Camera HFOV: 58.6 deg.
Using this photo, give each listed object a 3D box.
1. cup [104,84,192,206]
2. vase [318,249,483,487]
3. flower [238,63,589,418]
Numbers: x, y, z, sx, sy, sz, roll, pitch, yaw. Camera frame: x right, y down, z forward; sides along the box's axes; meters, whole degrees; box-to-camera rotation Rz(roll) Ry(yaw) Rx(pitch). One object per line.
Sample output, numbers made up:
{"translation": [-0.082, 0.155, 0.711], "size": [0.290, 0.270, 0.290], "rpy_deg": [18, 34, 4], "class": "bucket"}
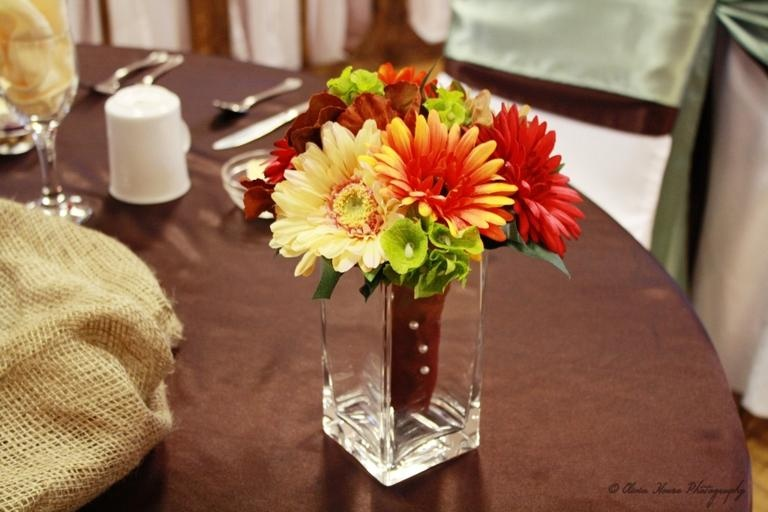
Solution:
{"translation": [-0.363, -0.180, 1.046], "size": [0.093, 0.148, 0.158], "rpy_deg": [8, 32, 0], "class": "cup"}
{"translation": [0.018, 0.105, 0.660], "size": [0.112, 0.230, 0.113], "rpy_deg": [-21, 36, -33], "class": "vase"}
{"translation": [0.020, 0.025, 0.710], "size": [0.281, 0.341, 0.293], "rpy_deg": [-16, 33, -21], "class": "flower"}
